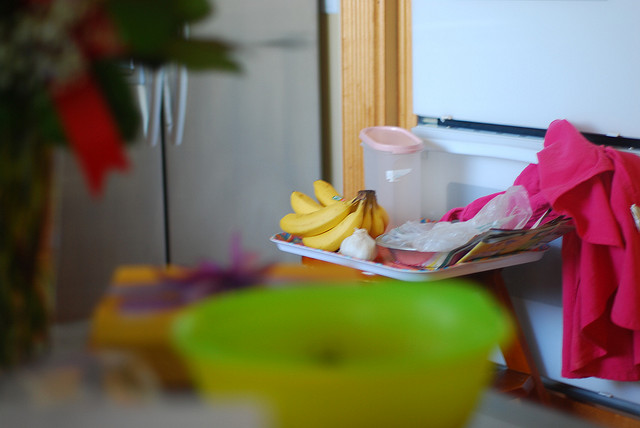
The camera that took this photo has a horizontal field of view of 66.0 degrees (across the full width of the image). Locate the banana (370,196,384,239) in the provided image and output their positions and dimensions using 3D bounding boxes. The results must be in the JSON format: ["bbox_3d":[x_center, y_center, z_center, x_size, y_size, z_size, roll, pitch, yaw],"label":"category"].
[{"bbox_3d":[0.090,0.006,0.785,0.017,0.062,0.023,-7,12,-13],"label":"banana"}]

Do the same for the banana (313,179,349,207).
[{"bbox_3d":[0.012,-0.042,0.815,0.032,0.040,0.119,-5,2,10],"label":"banana"}]

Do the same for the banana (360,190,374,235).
[{"bbox_3d":[0.073,-0.002,0.764,0.015,0.068,0.018,1,6,-23],"label":"banana"}]
